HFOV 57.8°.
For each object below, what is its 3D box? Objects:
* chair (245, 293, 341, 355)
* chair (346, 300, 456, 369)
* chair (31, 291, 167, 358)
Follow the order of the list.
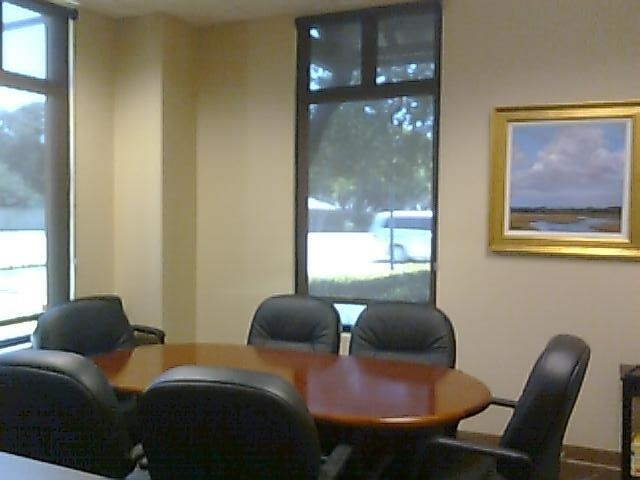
[{"bbox_3d":[-0.167,0.641,4.167,0.411,0.587,0.483,1,-14,12],"label":"chair"},{"bbox_3d":[0.612,0.546,4.041,0.530,0.497,0.440,3,2,11],"label":"chair"},{"bbox_3d":[-1.607,0.549,4.256,0.473,0.366,0.843,1,-1,34],"label":"chair"}]
